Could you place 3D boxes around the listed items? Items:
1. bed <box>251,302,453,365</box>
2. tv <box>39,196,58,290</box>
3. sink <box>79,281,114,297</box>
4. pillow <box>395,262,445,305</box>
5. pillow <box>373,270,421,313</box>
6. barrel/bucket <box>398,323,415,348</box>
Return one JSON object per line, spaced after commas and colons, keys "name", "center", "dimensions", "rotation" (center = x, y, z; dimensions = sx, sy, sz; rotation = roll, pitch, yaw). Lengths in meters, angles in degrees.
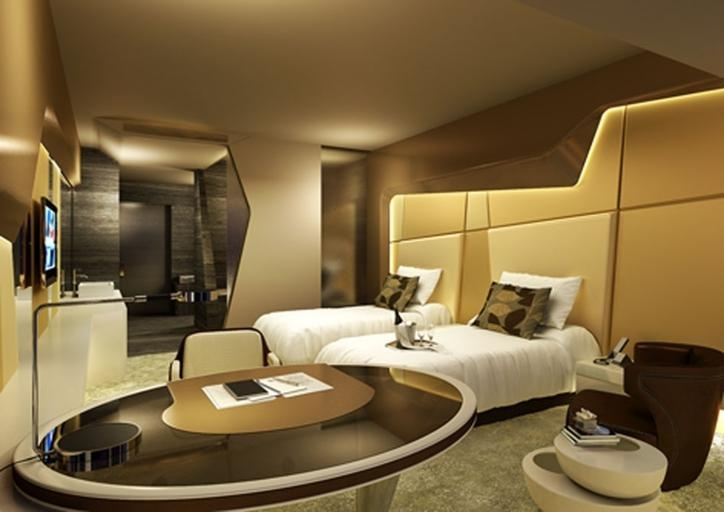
{"name": "bed", "center": [-0.204, 0.736, 4.984], "dimensions": [1.298, 0.344, 0.885], "rotation": [-1, -2, -26]}
{"name": "tv", "center": [-2.943, -0.146, 4.516], "dimensions": [0.064, 0.796, 0.785], "rotation": [0, 0, -27]}
{"name": "sink", "center": [-3.112, 0.380, 5.652], "dimensions": [0.358, 0.161, 0.424], "rotation": [-8, 15, -33]}
{"name": "pillow", "center": [0.738, 0.346, 5.797], "dimensions": [0.449, 0.430, 0.135], "rotation": [4, -27, 48]}
{"name": "pillow", "center": [0.430, 0.423, 5.791], "dimensions": [0.136, 0.420, 0.448], "rotation": [40, -20, -34]}
{"name": "barrel/bucket", "center": [0.348, 0.618, 3.687], "dimensions": [0.153, 0.171, 0.174], "rotation": [-2, -7, 16]}
